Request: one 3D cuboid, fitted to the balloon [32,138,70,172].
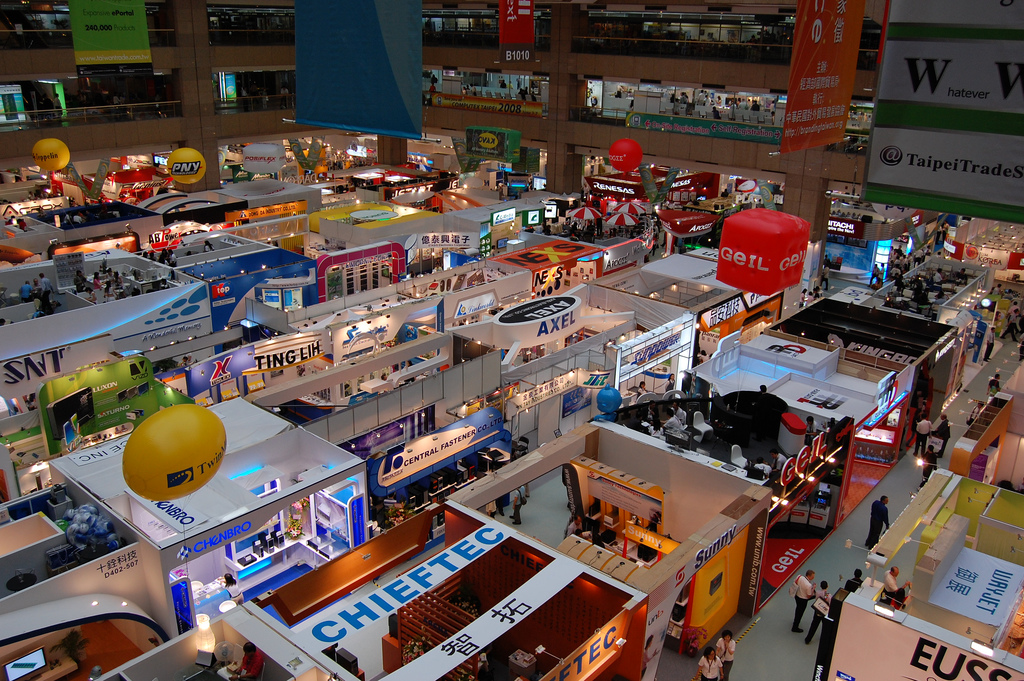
[{"bbox_3d":[-12.337,-4.932,17.877,0.739,0.858,1.167,-17,28,-33],"label":"balloon"}]

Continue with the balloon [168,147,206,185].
[{"bbox_3d":[-8.689,-4.611,17.741,0.844,0.911,0.594,-13,26,-27],"label":"balloon"}]

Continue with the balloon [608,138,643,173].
[{"bbox_3d":[2.846,-4.670,16.964,0.704,0.848,1.339,2,23,6],"label":"balloon"}]

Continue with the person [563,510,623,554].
[{"bbox_3d":[1.163,2.729,9.586,0.735,0.474,0.390,-13,21,-42],"label":"person"}]

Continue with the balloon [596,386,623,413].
[{"bbox_3d":[1.719,1.076,11.856,0.364,0.436,0.770,1,23,4],"label":"balloon"}]
